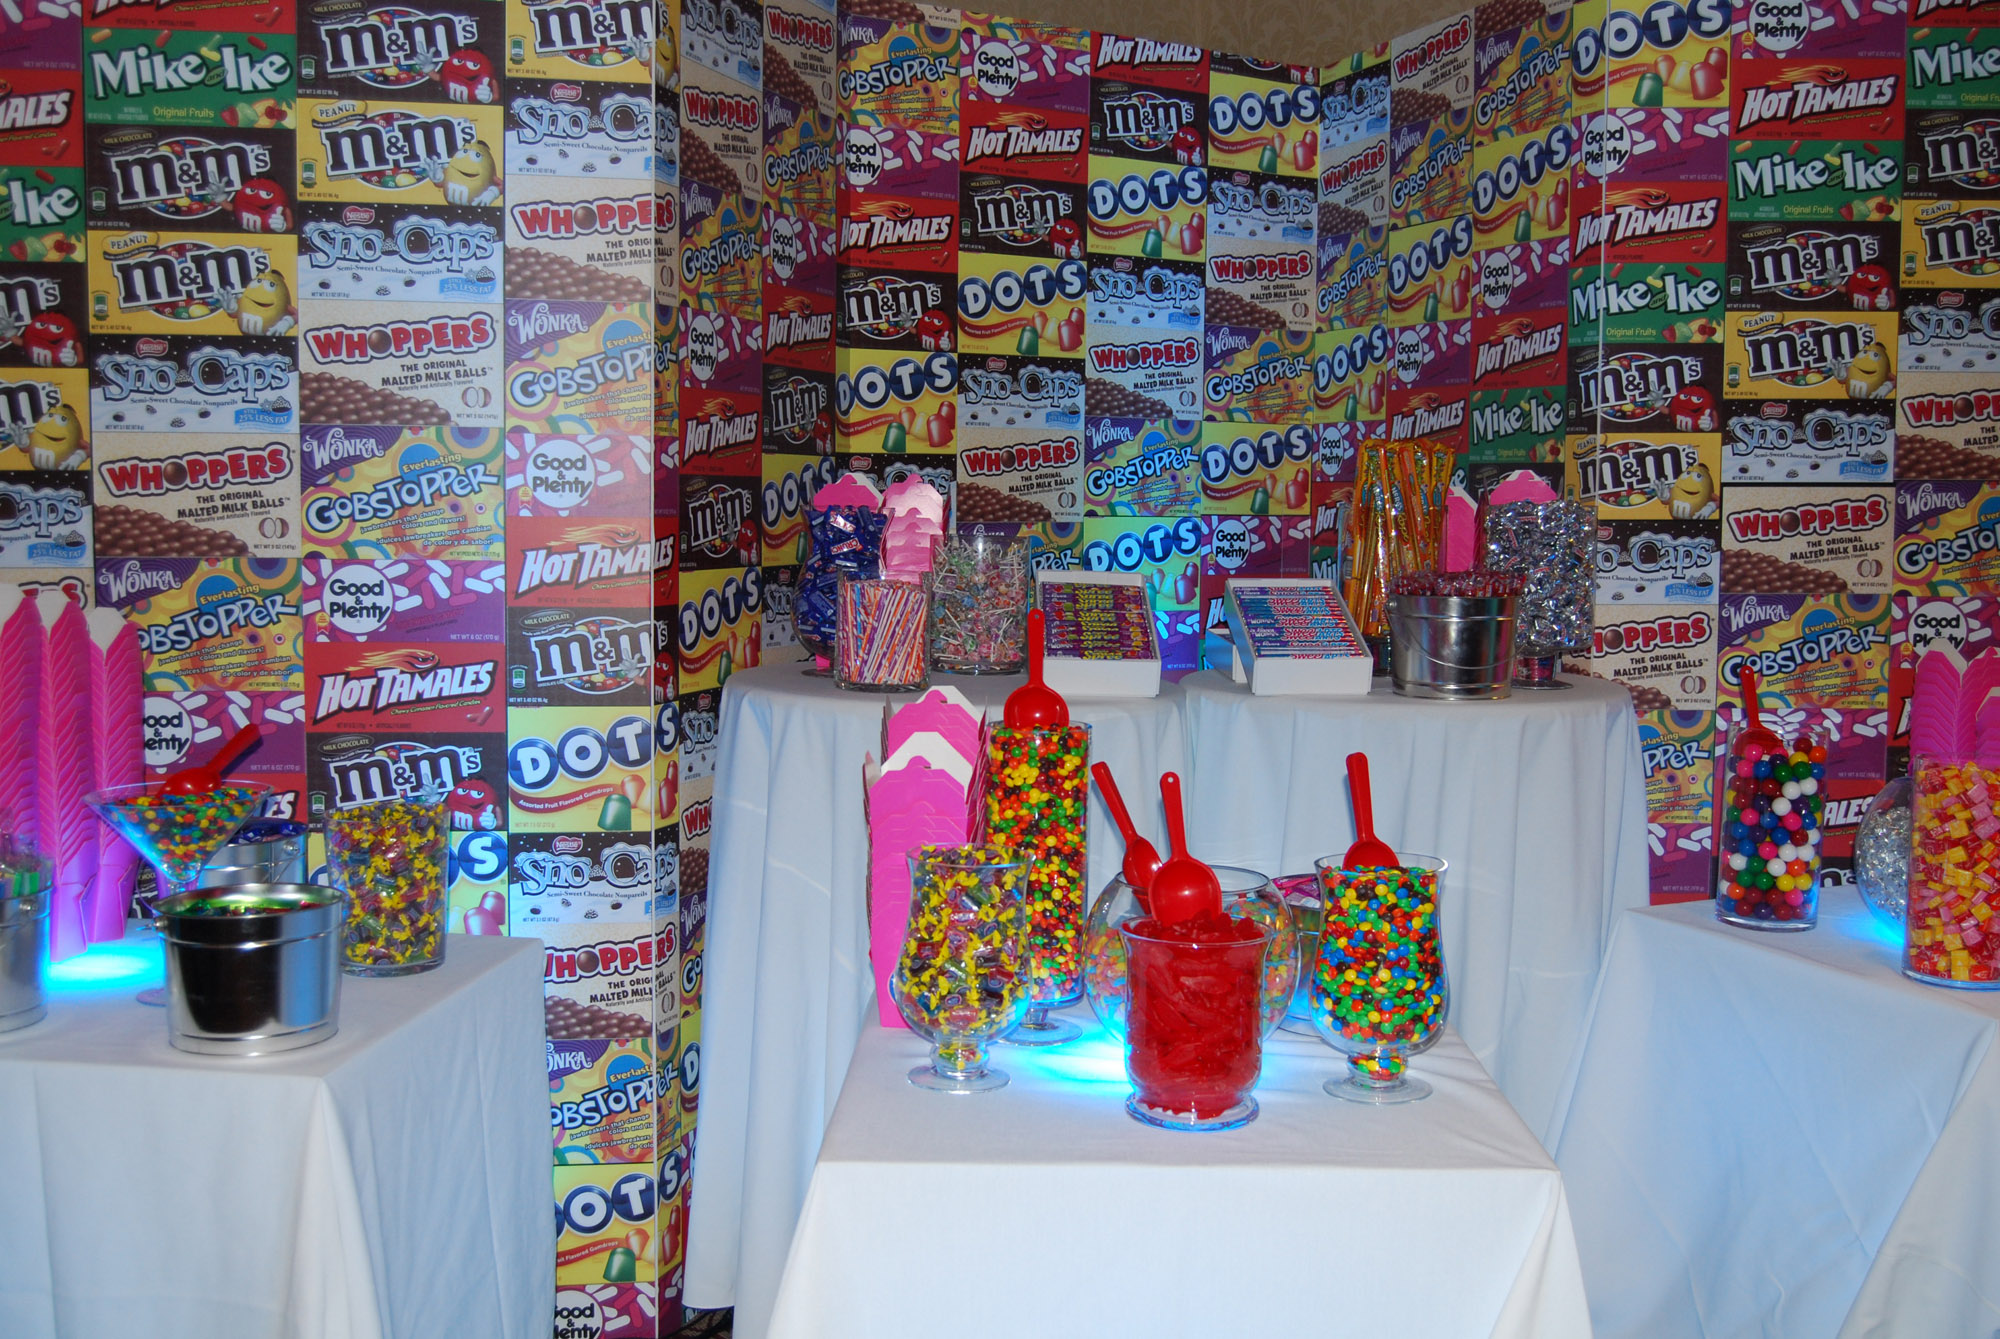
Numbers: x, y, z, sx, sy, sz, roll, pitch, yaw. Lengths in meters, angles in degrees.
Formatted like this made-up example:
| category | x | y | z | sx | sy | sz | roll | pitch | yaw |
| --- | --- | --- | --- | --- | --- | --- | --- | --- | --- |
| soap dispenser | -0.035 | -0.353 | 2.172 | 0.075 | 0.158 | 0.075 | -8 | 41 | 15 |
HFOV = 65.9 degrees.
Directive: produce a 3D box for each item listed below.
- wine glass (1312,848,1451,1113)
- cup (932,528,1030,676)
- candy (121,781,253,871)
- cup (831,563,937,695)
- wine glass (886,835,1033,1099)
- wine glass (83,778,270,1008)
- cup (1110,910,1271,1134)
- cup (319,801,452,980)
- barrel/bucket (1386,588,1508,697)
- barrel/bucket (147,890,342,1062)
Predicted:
| category | x | y | z | sx | sy | sz | roll | pitch | yaw |
| --- | --- | --- | --- | --- | --- | --- | --- | --- | --- |
| wine glass | 0.580 | 0.457 | 2.371 | 0.195 | 0.344 | 0.152 | 0 | 6 | 7 |
| cup | -0.056 | -0.183 | 3.953 | 0.329 | 0.360 | 0.325 | 1 | -2 | 0 |
| candy | -1.463 | 0.266 | 2.757 | 0.158 | 0.079 | 0.155 | 2 | 31 | -4 |
| cup | -0.287 | -0.113 | 3.808 | 0.250 | 0.269 | 0.243 | 2 | 9 | 0 |
| wine glass | -0.058 | 0.442 | 2.356 | 0.200 | 0.346 | 0.152 | -1 | 6 | 0 |
| wine glass | -1.453 | 0.368 | 2.846 | 0.348 | 0.398 | 0.339 | 0 | 14 | -30 |
| cup | 0.274 | 0.492 | 2.221 | 0.288 | 0.336 | 0.263 | 0 | -6 | 0 |
| cup | -1.172 | 0.407 | 2.935 | 0.239 | 0.348 | 0.219 | -2 | -5 | 0 |
| barrel/bucket | 1.151 | -0.076 | 3.909 | 0.325 | 0.253 | 0.323 | 1 | 10 | 0 |
| barrel/bucket | -1.258 | 0.492 | 2.581 | 0.262 | 0.233 | 0.255 | 2 | 4 | 0 |
